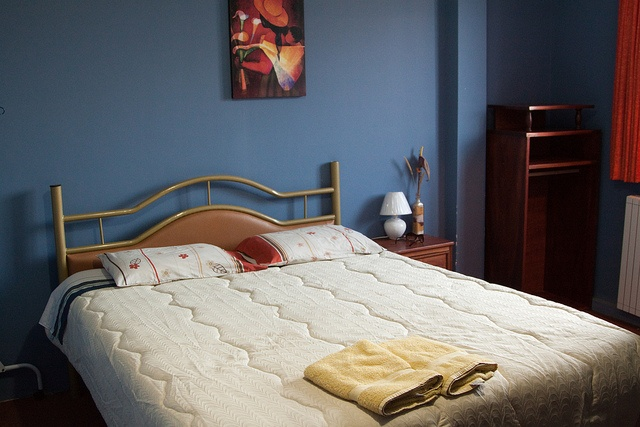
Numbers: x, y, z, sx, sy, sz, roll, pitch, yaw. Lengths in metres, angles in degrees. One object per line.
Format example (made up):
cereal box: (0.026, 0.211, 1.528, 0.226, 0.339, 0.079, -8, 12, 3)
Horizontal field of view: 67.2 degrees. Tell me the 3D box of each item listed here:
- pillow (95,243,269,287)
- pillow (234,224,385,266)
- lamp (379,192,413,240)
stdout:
pillow: (-0.981, 0.344, 3.250, 0.650, 0.112, 0.434, -1, 13, -31)
pillow: (-0.073, 0.239, 3.591, 0.683, 0.144, 0.442, -5, 14, -26)
lamp: (0.539, 0.025, 4.142, 0.361, 0.430, 0.358, -1, 4, -6)
